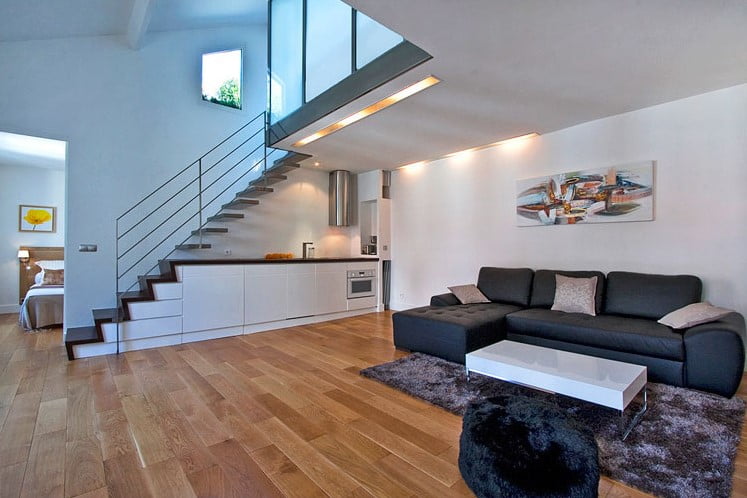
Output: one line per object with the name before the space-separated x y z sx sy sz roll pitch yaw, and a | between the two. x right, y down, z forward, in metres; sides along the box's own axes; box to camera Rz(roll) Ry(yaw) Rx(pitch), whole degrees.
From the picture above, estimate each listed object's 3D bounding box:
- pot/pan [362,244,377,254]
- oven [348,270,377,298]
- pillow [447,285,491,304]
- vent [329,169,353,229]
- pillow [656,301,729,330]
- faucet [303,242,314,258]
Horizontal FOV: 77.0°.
pot/pan | -0.077 0.019 8.936 0.268 0.239 0.157 0 -1 -13
oven | -0.209 0.620 8.397 0.636 0.450 0.436 2 -5 -42
pillow | 1.431 0.670 6.838 0.340 0.099 0.332 -4 26 -23
vent | -0.590 -0.961 9.050 0.454 1.068 0.444 0 4 -7
pillow | 3.601 0.743 5.241 0.418 0.119 0.409 -17 -4 -11
faucet | -1.192 0.011 8.626 0.156 0.274 0.306 1 9 7
